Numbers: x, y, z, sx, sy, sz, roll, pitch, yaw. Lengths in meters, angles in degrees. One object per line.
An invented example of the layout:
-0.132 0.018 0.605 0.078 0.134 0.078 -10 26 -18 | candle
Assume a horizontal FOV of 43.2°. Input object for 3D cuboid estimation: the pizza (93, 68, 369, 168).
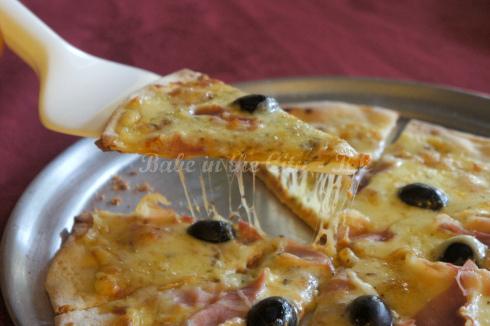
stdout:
-0.102 -0.158 2.898 0.881 0.124 0.540 12 31 12 | pizza
